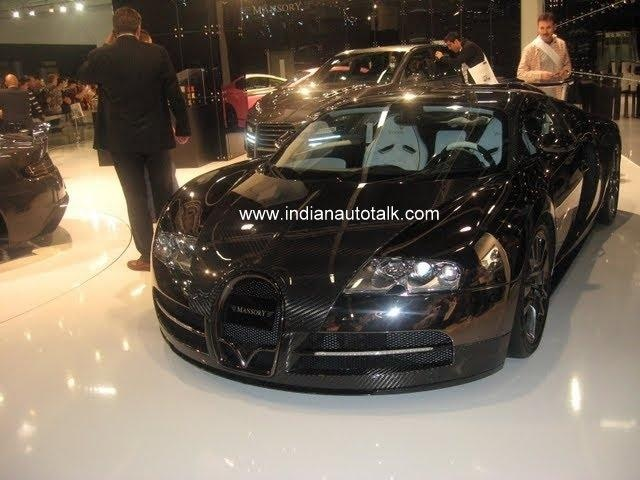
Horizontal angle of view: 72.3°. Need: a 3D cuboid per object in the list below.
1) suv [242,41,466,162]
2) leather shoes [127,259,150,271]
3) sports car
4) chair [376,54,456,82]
[{"bbox_3d":[0.800,-2.112,6.678,1.549,1.210,3.508,11,20,37],"label":"suv"},{"bbox_3d":[-1.526,0.209,3.702,0.180,0.075,0.098,8,12,15],"label":"leather shoes"},{"bbox_3d":[0.448,-0.143,2.556,2.577,1.359,1.613,-17,24,-35],"label":"sports car"},{"bbox_3d":[1.541,-2.557,6.543,0.540,0.387,1.196,20,31,41],"label":"chair"}]
